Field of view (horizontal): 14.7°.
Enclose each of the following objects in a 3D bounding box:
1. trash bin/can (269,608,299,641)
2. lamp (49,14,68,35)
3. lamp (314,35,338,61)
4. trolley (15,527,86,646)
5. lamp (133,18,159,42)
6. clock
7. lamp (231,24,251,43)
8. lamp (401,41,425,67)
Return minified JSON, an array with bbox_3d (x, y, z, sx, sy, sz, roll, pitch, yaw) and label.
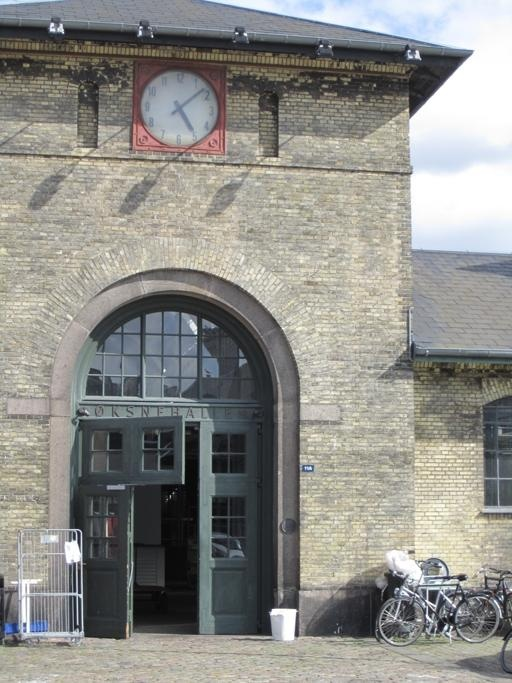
[{"bbox_3d":[0.370,4.134,28.503,0.452,0.471,0.378,13,-22,-37],"label":"trash bin/can"},{"bbox_3d":[-2.850,-4.527,28.536,0.175,0.243,0.248,5,7,-7],"label":"lamp"},{"bbox_3d":[0.990,-4.321,29.315,0.248,0.314,0.208,2,3,-3],"label":"lamp"},{"bbox_3d":[-2.909,3.518,28.273,0.945,1.658,1.013,-4,6,-12],"label":"trolley"},{"bbox_3d":[-1.616,-4.501,28.787,0.324,0.390,0.251,1,2,-4],"label":"lamp"},{"bbox_3d":[-1.239,-3.454,29.473,1.344,1.472,0.108,2,-9,-9],"label":"clock"},{"bbox_3d":[-0.225,-4.501,29.012,0.227,0.237,0.224,1,-4,-12],"label":"lamp"},{"bbox_3d":[2.312,-4.286,29.553,0.244,0.370,0.258,1,2,2],"label":"lamp"}]
